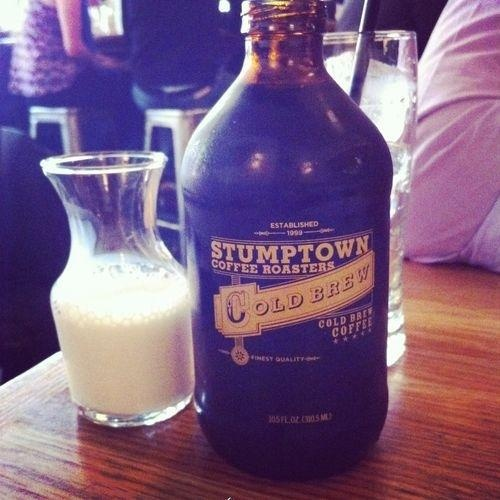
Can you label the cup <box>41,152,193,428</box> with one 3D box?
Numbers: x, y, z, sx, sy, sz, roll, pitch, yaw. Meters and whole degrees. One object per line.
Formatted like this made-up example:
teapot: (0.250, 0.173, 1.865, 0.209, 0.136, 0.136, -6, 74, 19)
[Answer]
cup: (-0.112, 0.032, 0.484, 0.124, 0.218, 0.124, 0, 16, 0)
